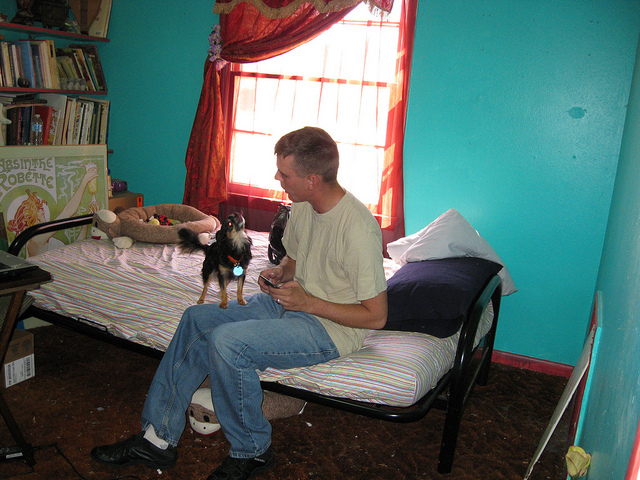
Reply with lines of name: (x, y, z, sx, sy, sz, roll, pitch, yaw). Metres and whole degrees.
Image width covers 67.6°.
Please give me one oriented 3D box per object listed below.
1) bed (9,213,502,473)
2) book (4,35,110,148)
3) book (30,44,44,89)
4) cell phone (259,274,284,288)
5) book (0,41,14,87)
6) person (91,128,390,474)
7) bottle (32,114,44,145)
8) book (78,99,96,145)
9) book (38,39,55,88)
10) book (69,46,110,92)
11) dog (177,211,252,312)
bed: (-0.347, 0.343, 3.009, 2.565, 0.747, 1.476, 13, 28, 23)
book: (-2.294, -1.234, 4.101, 0.245, 1.030, 1.092, 0, -1, 11)
book: (-2.382, -1.472, 4.014, 0.056, 0.254, 0.243, -1, 15, -10)
cell phone: (-0.253, 0.206, 2.442, 0.161, 0.049, 0.021, 22, 5, -39)
book: (-2.513, -1.414, 3.835, 0.035, 0.331, 0.082, 7, 13, 10)
person: (-0.304, 0.315, 2.328, 1.124, 1.726, 0.588, -1, 14, -22)
bottle: (-2.354, -0.928, 3.983, 0.084, 0.230, 0.070, -3, 15, -30)
book: (-2.092, -1.077, 4.349, 0.070, 0.304, 0.299, 7, 6, -11)
book: (-2.315, -1.490, 4.037, 0.065, 0.287, 0.270, -1, 11, -8)
book: (-2.128, -1.572, 4.411, 0.084, 0.378, 0.361, -9, 19, -5)
dog: (-0.604, 0.122, 2.738, 0.265, 0.508, 0.717, -8, 9, -42)
